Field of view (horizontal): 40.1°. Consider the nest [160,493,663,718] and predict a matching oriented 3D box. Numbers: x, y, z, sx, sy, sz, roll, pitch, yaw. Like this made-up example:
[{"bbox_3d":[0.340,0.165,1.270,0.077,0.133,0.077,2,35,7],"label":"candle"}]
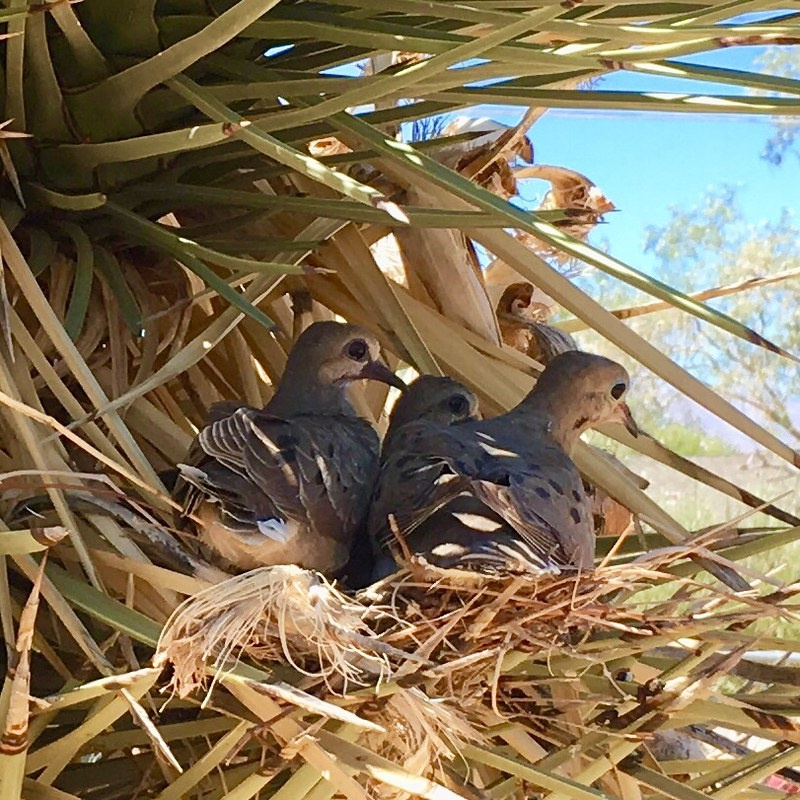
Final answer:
[{"bbox_3d":[0.001,0.095,0.469,0.182,0.080,0.110,11,6,-1],"label":"nest"}]
